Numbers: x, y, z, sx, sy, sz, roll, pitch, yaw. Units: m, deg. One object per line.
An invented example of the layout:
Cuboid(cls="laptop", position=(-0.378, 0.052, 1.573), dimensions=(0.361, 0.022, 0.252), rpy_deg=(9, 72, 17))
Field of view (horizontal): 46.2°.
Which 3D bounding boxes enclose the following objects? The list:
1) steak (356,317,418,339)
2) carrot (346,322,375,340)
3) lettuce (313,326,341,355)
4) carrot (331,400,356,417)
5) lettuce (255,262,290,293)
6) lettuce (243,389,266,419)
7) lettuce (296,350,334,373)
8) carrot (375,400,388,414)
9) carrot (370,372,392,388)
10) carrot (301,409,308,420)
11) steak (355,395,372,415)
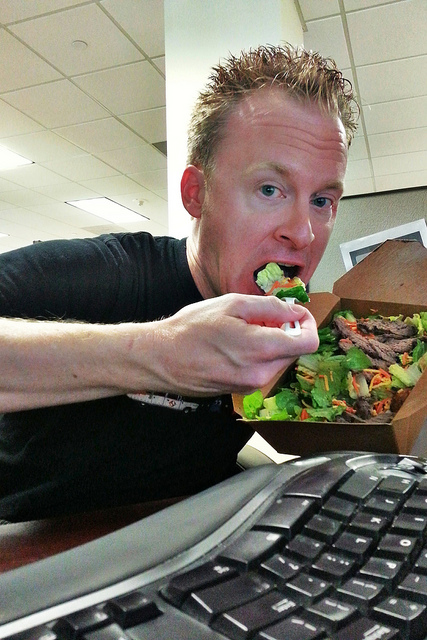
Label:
Cuboid(cls="steak", position=(0.231, 0.008, 0.677), dimensions=(0.045, 0.012, 0.030), rpy_deg=(9, 21, 41))
Cuboid(cls="carrot", position=(0.204, 0.016, 0.694), dimensions=(0.025, 0.007, 0.024), rpy_deg=(27, 9, -15))
Cuboid(cls="lettuce", position=(0.157, 0.034, 0.732), dimensions=(0.038, 0.015, 0.037), rpy_deg=(34, 41, -7))
Cuboid(cls="carrot", position=(0.145, 0.097, 0.560), dimensions=(0.021, 0.009, 0.014), rpy_deg=(29, 37, 27))
Cuboid(cls="lettuce", position=(0.077, -0.060, 0.704), dimensions=(0.042, 0.040, 0.017), rpy_deg=(-27, -10, 4))
Cuboid(cls="lettuce", position=(0.043, 0.098, 0.580), dimensions=(0.029, 0.036, 0.013), rpy_deg=(3, -21, 7))
Cuboid(cls="lettuce", position=(0.135, 0.050, 0.659), dimensions=(0.050, 0.015, 0.050), rpy_deg=(-21, 19, -33))
Cuboid(cls="carrot", position=(0.188, 0.098, 0.565), dimensions=(0.005, 0.013, 0.010), rpy_deg=(23, -15, 15))
Cuboid(cls="carrot", position=(0.191, 0.071, 0.583), dimensions=(0.014, 0.016, 0.007), rpy_deg=(25, 33, 6))
Cuboid(cls="carrot", position=(0.103, 0.108, 0.568), dimensions=(0.004, 0.012, 0.006), rpy_deg=(12, -12, -23))
Cuboid(cls="steak", position=(0.167, 0.095, 0.556), dimensions=(0.006, 0.014, 0.018), rpy_deg=(36, 12, 7))
